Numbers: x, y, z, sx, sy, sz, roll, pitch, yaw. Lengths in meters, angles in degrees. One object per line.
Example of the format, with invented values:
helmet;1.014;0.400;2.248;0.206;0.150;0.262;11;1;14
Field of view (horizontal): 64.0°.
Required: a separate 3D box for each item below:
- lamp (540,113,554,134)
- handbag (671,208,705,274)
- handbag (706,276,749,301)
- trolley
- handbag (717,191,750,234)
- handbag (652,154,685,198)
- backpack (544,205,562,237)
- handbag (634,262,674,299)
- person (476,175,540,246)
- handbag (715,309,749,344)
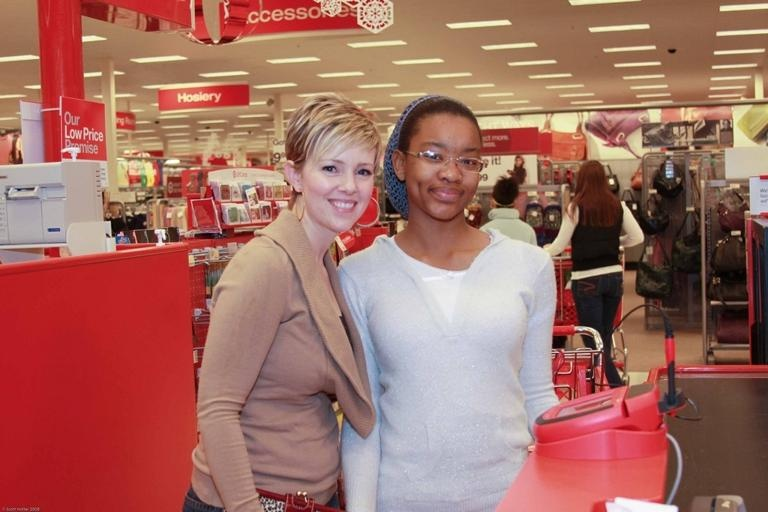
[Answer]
lamp;2.812;-2.309;10.664;0.112;0.437;0.129;15;-25;16
handbag;4.406;-0.260;8.969;0.515;1.000;0.349;2;-9;20
handbag;4.250;0.295;7.617;0.448;0.469;0.243;2;3;14
trolley;2.640;0.811;7.317;0.836;1.528;1.491;1;6;6
handbag;4.331;-0.460;7.635;0.375;0.168;0.291;25;50;39
handbag;4.282;-1.192;9.208;0.440;0.582;0.271;-1;0;9
backpack;2.359;-0.464;8.483;0.295;0.523;0.330;5;6;17
handbag;3.849;0.370;8.808;0.466;0.620;0.268;5;-18;24
person;1.271;-0.336;6.428;0.748;1.008;0.481;-3;0;1
handbag;4.240;0.879;7.545;0.355;0.379;0.377;0;-5;7
